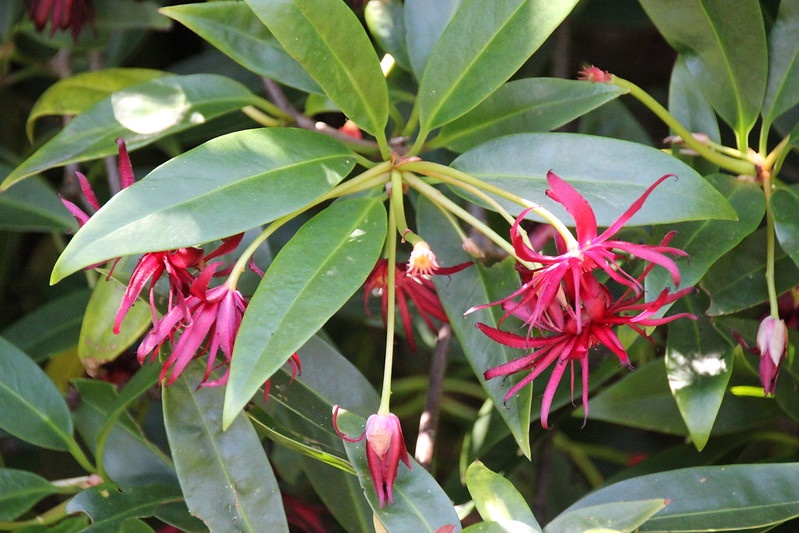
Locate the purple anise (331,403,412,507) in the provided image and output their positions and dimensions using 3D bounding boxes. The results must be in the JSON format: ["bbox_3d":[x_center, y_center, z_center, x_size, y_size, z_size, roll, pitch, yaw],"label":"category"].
[{"bbox_3d":[-0.036,0.248,1.239,0.080,0.134,0.114,-25,26,-13],"label":"purple anise"}]

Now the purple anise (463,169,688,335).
[{"bbox_3d":[0.235,-0.017,1.175,0.231,0.232,0.128,-46,-7,8],"label":"purple anise"}]

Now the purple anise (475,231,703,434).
[{"bbox_3d":[0.266,0.066,1.230,0.307,0.105,0.330,-37,3,-21],"label":"purple anise"}]

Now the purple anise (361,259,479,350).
[{"bbox_3d":[0.024,0.042,1.362,0.131,0.059,0.165,11,4,11],"label":"purple anise"}]

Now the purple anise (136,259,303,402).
[{"bbox_3d":[-0.270,0.061,1.258,0.258,0.108,0.327,20,6,10],"label":"purple anise"}]
